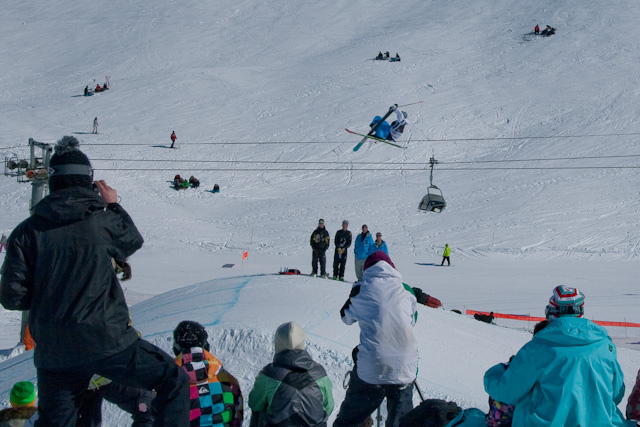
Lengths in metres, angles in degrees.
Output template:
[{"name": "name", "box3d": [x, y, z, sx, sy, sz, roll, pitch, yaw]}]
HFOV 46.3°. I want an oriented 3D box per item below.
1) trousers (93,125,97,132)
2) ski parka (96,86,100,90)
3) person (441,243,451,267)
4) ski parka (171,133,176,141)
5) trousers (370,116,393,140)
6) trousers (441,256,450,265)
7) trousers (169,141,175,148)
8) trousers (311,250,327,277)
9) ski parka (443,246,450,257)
[{"name": "trousers", "box3d": [-19.442, -7.466, 64.753, 0.623, 0.621, 0.161, 6, -1, 44]}, {"name": "ski parka", "box3d": [-22.208, -12.713, 74.927, 0.325, 0.343, 0.306, 7, 15, 20]}, {"name": "person", "box3d": [7.401, 2.435, 44.371, 0.471, 1.354, 2.043, 1, -4, 10]}, {"name": "ski parka", "box3d": [-12.029, -6.426, 61.423, 0.310, 0.622, 0.833, 2, -4, -14]}, {"name": "trousers", "box3d": [3.667, -4.878, 42.082, 1.117, 1.333, 1.446, -7, -1, -7]}, {"name": "trousers", "box3d": [7.325, 2.704, 43.919, 0.468, 0.483, 1.031, 0, -4, 12]}, {"name": "trousers", "box3d": [-12.330, -5.813, 62.358, 0.166, 0.584, 0.623, 9, 6, -20]}, {"name": "trousers", "box3d": [-0.090, 2.527, 38.965, 0.695, 1.317, 0.726, 0, -4, 12]}, {"name": "ski parka", "box3d": [7.459, 2.201, 44.336, 0.584, 0.560, 0.336, 11, 13, 5]}]
